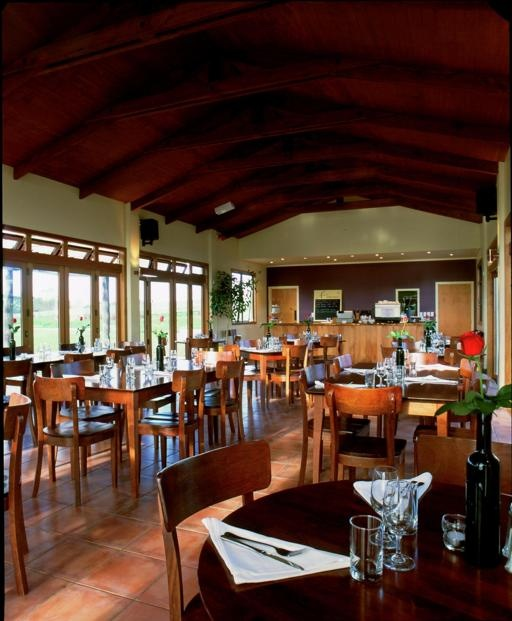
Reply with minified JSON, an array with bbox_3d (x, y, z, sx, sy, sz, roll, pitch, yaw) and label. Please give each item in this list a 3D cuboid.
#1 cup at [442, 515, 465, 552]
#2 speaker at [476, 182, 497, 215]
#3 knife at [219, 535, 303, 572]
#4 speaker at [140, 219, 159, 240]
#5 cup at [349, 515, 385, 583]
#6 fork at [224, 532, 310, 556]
[{"bbox_3d":[0.453,0.504,1.066,0.045,0.050,0.060,-1,-11,14],"label":"cup"},{"bbox_3d":[3.725,-1.836,7.476,0.299,0.602,0.610,1,1,26],"label":"speaker"},{"bbox_3d":[0.010,0.515,1.025,0.168,0.015,0.059,2,5,40],"label":"knife"},{"bbox_3d":[-2.108,-1.582,8.950,0.355,0.599,0.294,0,-3,-3],"label":"speaker"},{"bbox_3d":[0.222,0.473,0.931,0.061,0.106,0.062,0,1,0],"label":"cup"},{"bbox_3d":[0.016,0.514,1.035,0.171,0.017,0.061,0,0,34],"label":"fork"}]
